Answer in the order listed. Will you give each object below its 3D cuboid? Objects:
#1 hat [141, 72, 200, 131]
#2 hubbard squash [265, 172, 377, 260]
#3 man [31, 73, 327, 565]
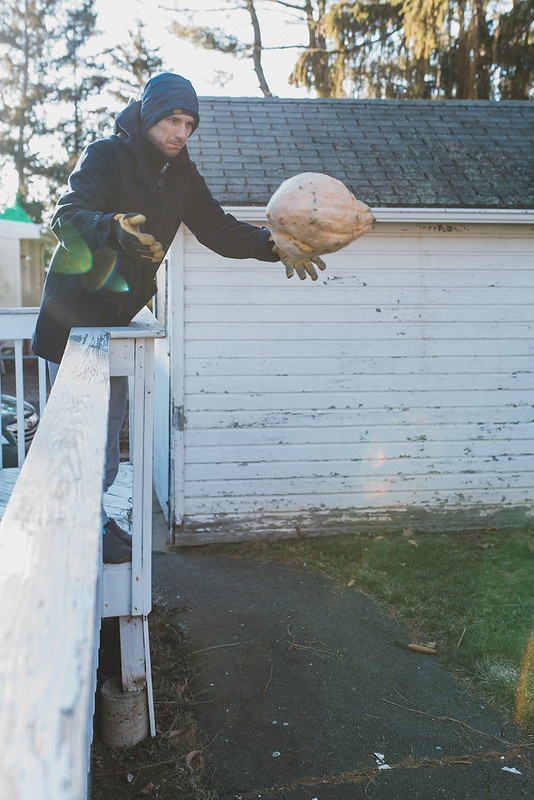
[{"bbox_3d":[-0.370,-1.157,3.164,0.173,0.180,0.195,-9,-3,-28],"label":"hat"},{"bbox_3d":[0.198,-0.716,3.167,0.545,0.337,0.367,-15,17,-42],"label":"hubbard squash"},{"bbox_3d":[-0.311,-0.364,3.161,1.128,1.709,0.905,-2,3,-7],"label":"man"}]
